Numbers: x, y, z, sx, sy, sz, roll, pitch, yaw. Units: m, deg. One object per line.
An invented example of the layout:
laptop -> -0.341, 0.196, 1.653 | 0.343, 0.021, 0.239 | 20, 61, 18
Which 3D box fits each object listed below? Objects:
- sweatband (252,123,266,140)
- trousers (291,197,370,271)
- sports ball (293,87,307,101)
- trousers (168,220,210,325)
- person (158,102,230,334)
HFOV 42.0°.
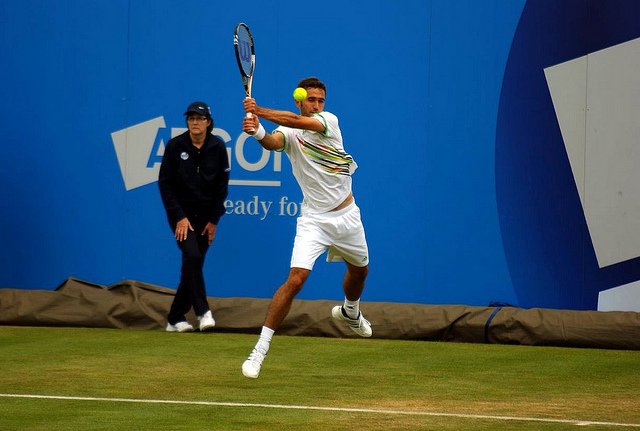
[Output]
sweatband -> -0.595, -0.820, 8.072 | 0.113, 0.145, 0.104 | 3, 7, 27
trousers -> 0.116, 0.183, 8.491 | 0.950, 0.660, 0.375 | -3, 2, -35
sports ball -> -0.200, -1.197, 8.328 | 0.117, 0.128, 0.121 | 7, -2, 0
trousers -> -1.540, 0.677, 9.732 | 0.479, 1.222, 0.537 | 0, 11, -9
person -> -1.520, -0.067, 9.732 | 0.777, 2.433, 0.740 | 2, 11, 5
